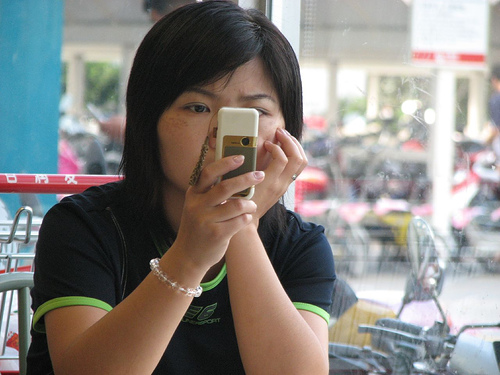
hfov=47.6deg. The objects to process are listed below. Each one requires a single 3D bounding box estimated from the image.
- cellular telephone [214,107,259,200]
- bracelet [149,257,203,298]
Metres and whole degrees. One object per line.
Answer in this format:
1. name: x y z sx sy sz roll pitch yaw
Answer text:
1. cellular telephone: -0.040 -0.116 1.613 0.117 0.215 0.079 1 7 -4
2. bracelet: -0.210 0.258 1.594 0.143 0.089 0.069 3 8 3
